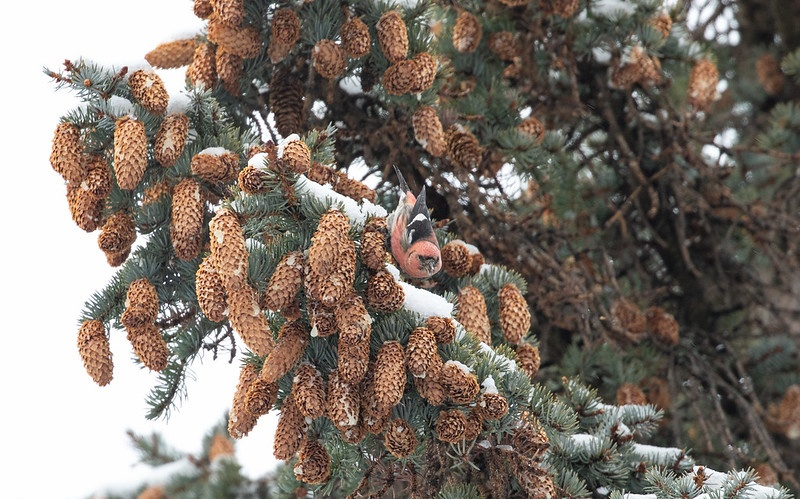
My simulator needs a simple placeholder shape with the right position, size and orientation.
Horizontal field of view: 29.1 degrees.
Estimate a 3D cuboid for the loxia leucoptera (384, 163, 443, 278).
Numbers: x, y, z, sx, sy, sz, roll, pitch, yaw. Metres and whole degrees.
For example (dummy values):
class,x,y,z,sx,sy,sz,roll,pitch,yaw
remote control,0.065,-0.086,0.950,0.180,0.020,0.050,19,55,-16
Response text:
class,x,y,z,sx,sy,sz,roll,pitch,yaw
loxia leucoptera,0.064,-0.087,7.600,0.164,0.646,0.239,3,-8,-31
